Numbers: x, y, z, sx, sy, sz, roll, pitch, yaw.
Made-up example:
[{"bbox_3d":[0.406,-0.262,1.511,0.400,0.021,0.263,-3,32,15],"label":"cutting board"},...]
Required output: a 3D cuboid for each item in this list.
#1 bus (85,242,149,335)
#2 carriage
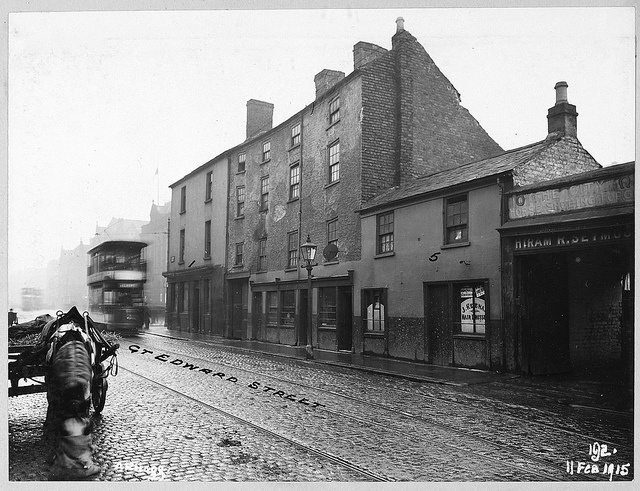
[{"bbox_3d":[-9.027,1.656,29.149,2.138,4.893,2.237,0,0,-31],"label":"bus"},{"bbox_3d":[-4.720,2.486,11.964,1.736,1.616,3.162,4,-3,-26],"label":"carriage"}]
